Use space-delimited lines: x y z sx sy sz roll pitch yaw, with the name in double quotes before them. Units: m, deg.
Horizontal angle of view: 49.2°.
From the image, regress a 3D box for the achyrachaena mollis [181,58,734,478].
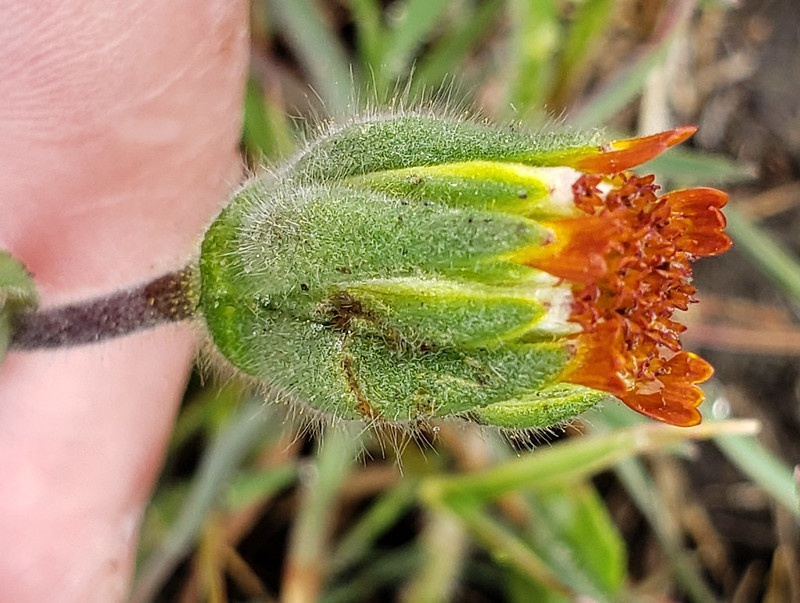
"achyrachaena mollis" -0.037 -0.039 1.177 0.829 0.417 0.381 3 -71 26
